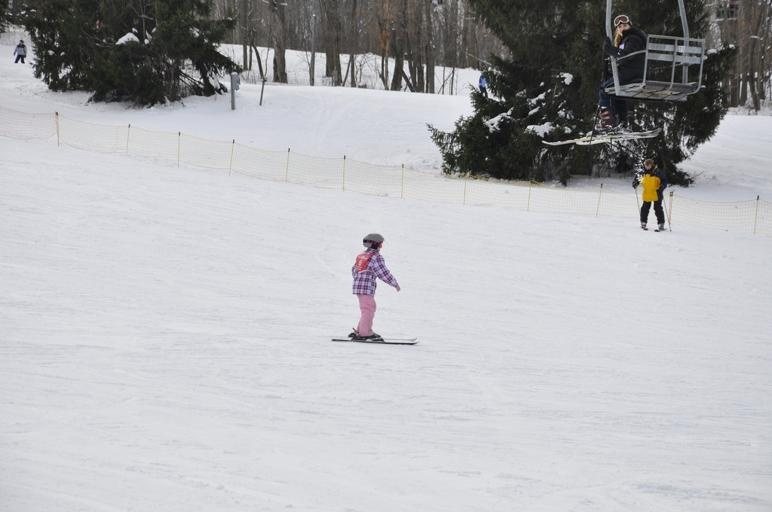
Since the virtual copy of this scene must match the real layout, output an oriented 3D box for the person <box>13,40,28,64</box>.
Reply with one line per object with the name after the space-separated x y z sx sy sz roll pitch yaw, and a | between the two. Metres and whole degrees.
-19.260 -10.886 88.494 0.623 1.223 2.556 2 6 -13 | person
